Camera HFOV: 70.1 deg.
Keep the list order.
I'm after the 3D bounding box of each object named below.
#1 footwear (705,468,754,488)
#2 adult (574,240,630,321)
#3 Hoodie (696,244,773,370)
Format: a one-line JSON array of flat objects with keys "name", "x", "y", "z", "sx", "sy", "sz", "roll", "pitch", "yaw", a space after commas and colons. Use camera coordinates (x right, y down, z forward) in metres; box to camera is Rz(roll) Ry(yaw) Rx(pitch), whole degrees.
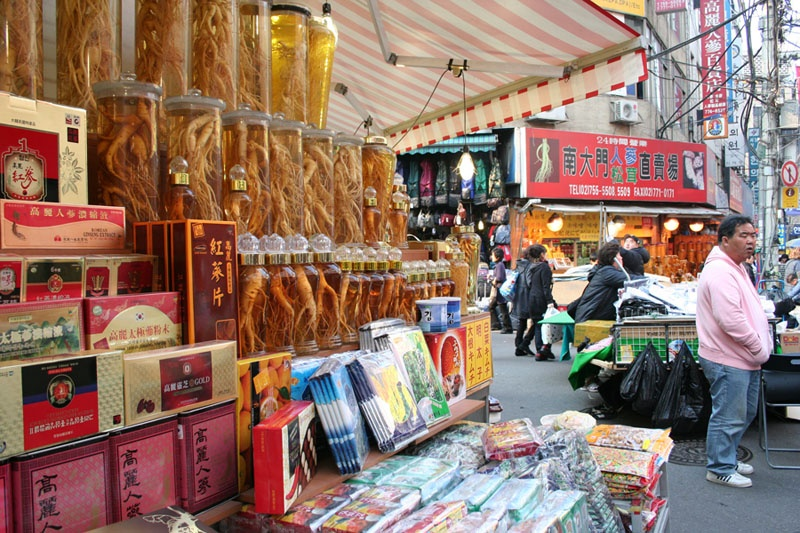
[{"name": "footwear", "x": 2.654, "y": 1.720, "z": 4.603, "sx": 0.328, "sy": 0.149, "sz": 0.134, "roll": -4, "pitch": -4, "yaw": 20}, {"name": "adult", "x": 2.782, "y": 0.224, "z": 7.754, "sx": 0.739, "sy": 1.053, "sz": 0.637, "roll": -3, "pitch": 4, "yaw": -26}, {"name": "Hoodie", "x": 2.618, "y": 0.334, "z": 4.477, "sx": 0.504, "sy": 0.974, "sz": 0.422, "roll": 0, "pitch": 4, "yaw": 26}]
